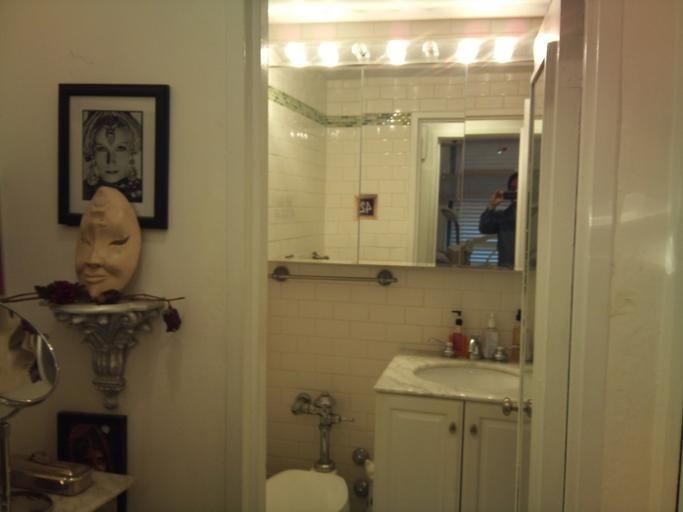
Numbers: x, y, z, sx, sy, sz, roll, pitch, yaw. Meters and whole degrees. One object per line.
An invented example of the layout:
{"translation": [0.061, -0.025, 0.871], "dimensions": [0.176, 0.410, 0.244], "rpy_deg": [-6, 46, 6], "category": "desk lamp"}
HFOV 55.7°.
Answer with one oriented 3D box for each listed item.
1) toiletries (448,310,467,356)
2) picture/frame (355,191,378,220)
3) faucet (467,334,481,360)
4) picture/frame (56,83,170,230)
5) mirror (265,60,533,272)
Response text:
{"translation": [0.423, 0.280, 2.302], "dimensions": [0.066, 0.163, 0.042], "rpy_deg": [2, 1, 9], "category": "toiletries"}
{"translation": [0.095, -0.181, 2.360], "dimensions": [0.076, 0.084, 0.050], "rpy_deg": [1, 2, 15], "category": "picture/frame"}
{"translation": [0.473, 0.326, 2.278], "dimensions": [0.042, 0.080, 0.042], "rpy_deg": [2, 0, 12], "category": "faucet"}
{"translation": [-0.553, -0.250, 1.536], "dimensions": [0.333, 0.444, 0.034], "rpy_deg": [0, 1, 1], "category": "picture/frame"}
{"translation": [0.244, -0.333, 2.296], "dimensions": [0.733, 0.558, 0.031], "rpy_deg": [1, 6, 11], "category": "mirror"}
